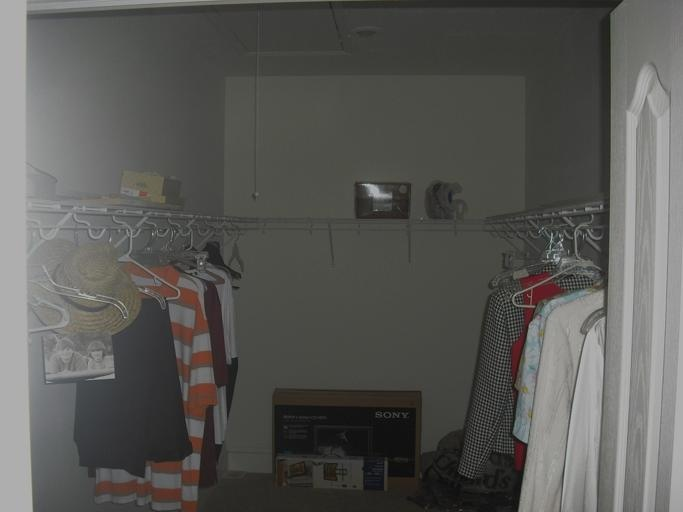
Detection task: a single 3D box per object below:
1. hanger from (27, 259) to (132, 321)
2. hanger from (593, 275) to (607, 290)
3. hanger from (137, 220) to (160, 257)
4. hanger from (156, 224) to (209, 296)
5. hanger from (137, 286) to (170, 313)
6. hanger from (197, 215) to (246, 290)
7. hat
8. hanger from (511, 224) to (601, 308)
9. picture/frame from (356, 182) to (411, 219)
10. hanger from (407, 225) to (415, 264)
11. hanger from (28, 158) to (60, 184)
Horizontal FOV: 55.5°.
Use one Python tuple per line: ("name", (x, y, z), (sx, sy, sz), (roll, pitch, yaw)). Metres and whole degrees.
("hanger", (-0.773, 0.109, 1.919), (0.293, 0.119, 0.034), (30, -26, -21))
("hanger", (0.839, 0.086, 2.108), (0.038, 0.049, 0.251), (2, -2, 21))
("hanger", (-0.733, -0.064, 2.451), (0.033, 0.113, 0.151), (15, -30, -11))
("hanger", (-0.652, 0.006, 2.572), (0.096, 0.285, 0.213), (6, 1, 9))
("hanger", (-0.627, 0.146, 2.165), (0.095, 0.074, 0.043), (3, -1, -18))
("hanger", (-0.608, -0.028, 3.309), (0.138, 0.481, 0.191), (-4, -33, -17))
("hat", (-0.755, 0.083, 1.999), (0.304, 0.328, 0.094), (-17, -31, -31))
("hanger", (0.752, 0.038, 2.257), (0.224, 0.176, 0.549), (2, 9, 29))
("picture/frame", (0.215, -0.292, 3.460), (0.289, 0.165, 0.062), (2, -1, 11))
("hanger", (0.361, -0.067, 3.469), (0.041, 0.175, 0.076), (2, -1, 12))
("hanger", (-0.941, -0.261, 2.048), (0.086, 0.071, 0.194), (3, -2, -24))
